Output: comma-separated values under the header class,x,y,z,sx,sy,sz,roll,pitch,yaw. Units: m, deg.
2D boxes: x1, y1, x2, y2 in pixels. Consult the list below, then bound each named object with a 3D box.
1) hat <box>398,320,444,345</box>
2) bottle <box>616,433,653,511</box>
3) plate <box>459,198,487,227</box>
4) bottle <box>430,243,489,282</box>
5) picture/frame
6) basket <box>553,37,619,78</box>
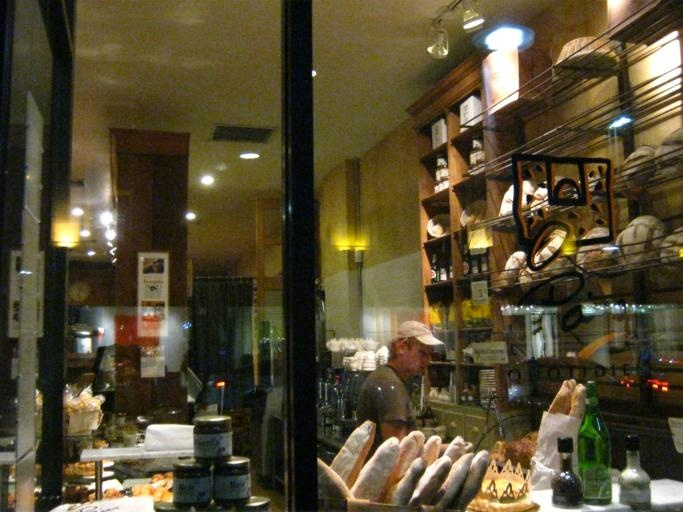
class,x,y,z,sx,sy,sz,roll,pitch,yaw
hat,0.242,0.229,1.813,0.106,0.050,0.068,6,-7,-2
bottle,0.886,0.646,1.827,0.135,0.215,0.063,5,-13,-42
plate,0.416,-0.136,1.918,0.091,0.082,0.012,-2,-10,-9
bottle,0.367,0.028,1.880,0.198,0.100,0.021,0,-10,-19
picture/frame,-0.557,0.172,1.807,0.088,0.365,0.059,-2,-10,-8
basket,0.804,-0.640,1.974,0.155,0.057,0.156,0,-4,6
